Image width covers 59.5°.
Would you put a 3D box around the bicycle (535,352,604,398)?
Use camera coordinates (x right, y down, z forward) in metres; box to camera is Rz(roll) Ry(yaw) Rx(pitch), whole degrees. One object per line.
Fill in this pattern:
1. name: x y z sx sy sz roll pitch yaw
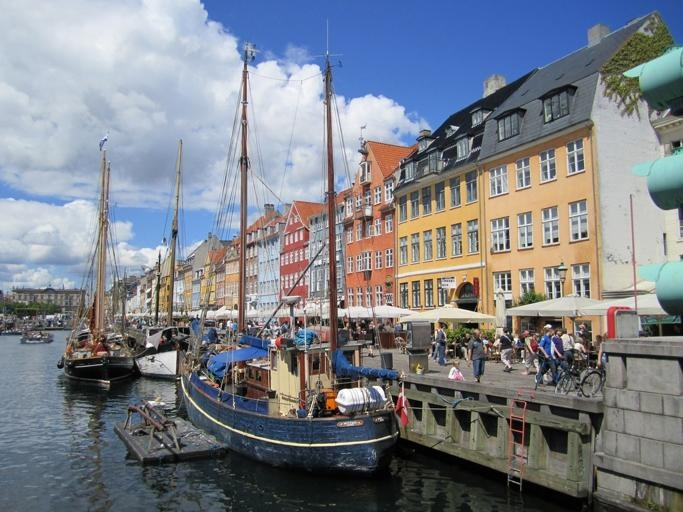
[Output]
1. bicycle: 8.190 3.993 20.037 2.106 1.480 1.101 0 -2 -28

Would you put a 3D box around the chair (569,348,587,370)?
1. chair: 8.770 3.838 22.158 0.551 0.745 0.616 1 -15 1
